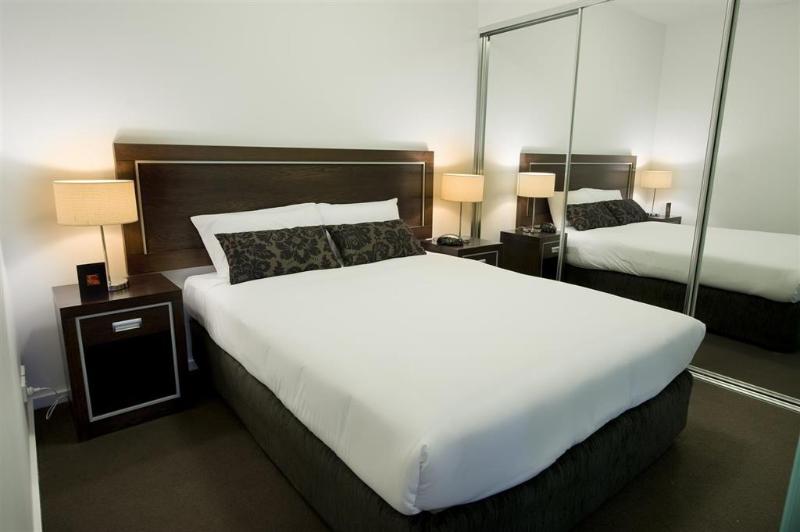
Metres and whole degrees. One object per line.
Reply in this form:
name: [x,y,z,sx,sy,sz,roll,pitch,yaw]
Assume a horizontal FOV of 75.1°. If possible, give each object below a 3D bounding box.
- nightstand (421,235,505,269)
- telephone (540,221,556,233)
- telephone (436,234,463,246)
nightstand: [0.606,-0.192,5.167,0.422,0.418,0.435,-11,21,-33]
telephone: [1.457,-0.371,5.081,0.081,0.085,0.136,-8,10,-43]
telephone: [0.512,-0.252,5.069,0.180,0.065,0.127,-9,13,-41]
